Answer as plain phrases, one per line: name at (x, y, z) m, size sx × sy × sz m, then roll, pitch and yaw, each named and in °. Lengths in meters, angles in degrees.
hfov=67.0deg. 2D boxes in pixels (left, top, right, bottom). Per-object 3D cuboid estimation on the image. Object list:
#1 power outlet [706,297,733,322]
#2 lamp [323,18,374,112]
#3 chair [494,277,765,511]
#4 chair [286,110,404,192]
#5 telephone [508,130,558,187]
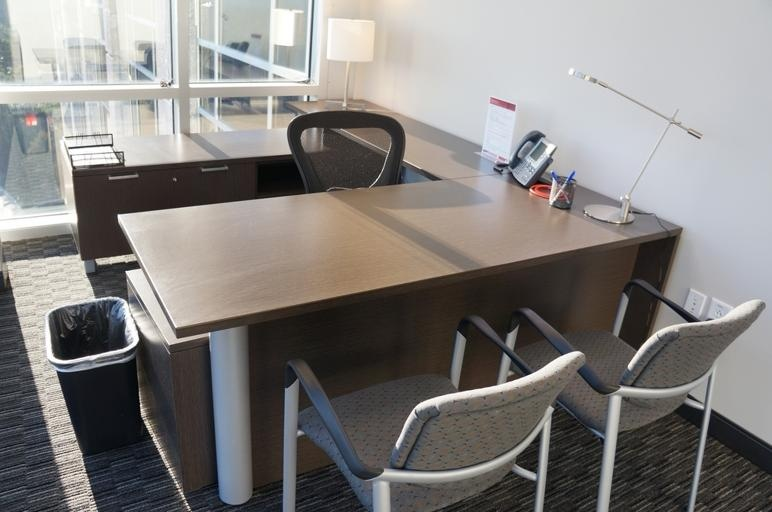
power outlet at (1.583, 0.247, 2.757) m, size 0.093 × 0.092 × 0.066 m, roll -3°, pitch 27°, yaw -14°
lamp at (-0.275, -1.484, 4.494) m, size 0.379 × 0.629 × 0.441 m, roll 2°, pitch 25°, yaw -4°
chair at (1.103, 0.649, 2.605) m, size 0.626 × 0.966 × 0.646 m, roll -16°, pitch 35°, yaw -20°
chair at (-0.207, -0.564, 3.167) m, size 0.530 × 0.489 × 0.506 m, roll -17°, pitch 35°, yaw -29°
telephone at (0.813, -0.542, 3.253) m, size 0.111 × 0.337 × 0.244 m, roll 20°, pitch 26°, yaw -31°
